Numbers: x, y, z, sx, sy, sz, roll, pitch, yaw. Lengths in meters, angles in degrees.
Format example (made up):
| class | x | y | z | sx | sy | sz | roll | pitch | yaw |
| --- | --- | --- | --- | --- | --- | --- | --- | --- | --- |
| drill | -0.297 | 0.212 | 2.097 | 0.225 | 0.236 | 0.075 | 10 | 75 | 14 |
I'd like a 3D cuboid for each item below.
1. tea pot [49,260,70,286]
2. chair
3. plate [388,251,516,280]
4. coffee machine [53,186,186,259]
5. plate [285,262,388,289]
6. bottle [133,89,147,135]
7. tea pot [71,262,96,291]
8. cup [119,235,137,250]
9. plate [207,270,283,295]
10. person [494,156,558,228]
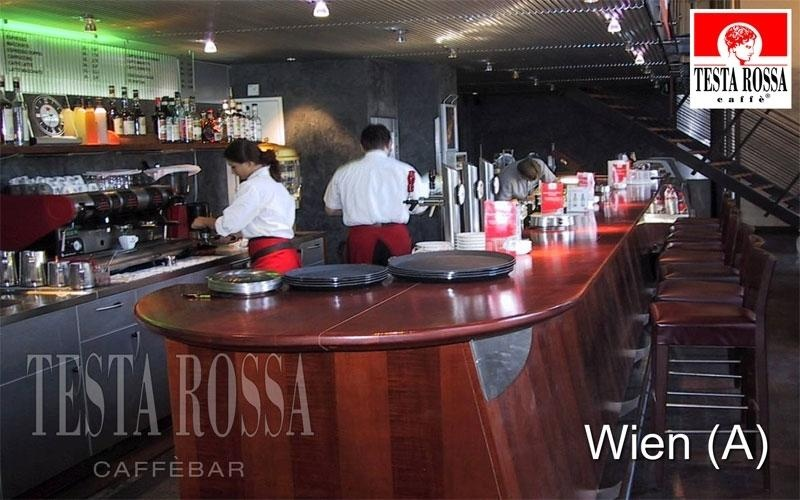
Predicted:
| class | x | y | z | sx | sy | sz | roll | pitch | yaw |
| --- | --- | --- | --- | --- | --- | --- | --- | --- | --- |
| tea pot | -2.428 | 0.175 | 4.049 | 0.151 | 0.157 | 0.170 | 3 | 6 | 7 |
| chair | 2.353 | 0.732 | 4.187 | 0.657 | 1.170 | 2.115 | 1 | 12 | 17 |
| plate | 0.298 | 0.085 | 3.019 | 0.602 | 0.099 | 0.543 | 5 | 10 | 35 |
| coffee machine | -2.291 | -0.259 | 4.517 | 0.521 | 0.449 | 0.965 | 2 | 6 | 20 |
| plate | -0.316 | 0.141 | 2.882 | 0.530 | 0.085 | 0.288 | -1 | 8 | 4 |
| bottle | -2.442 | -1.299 | 5.245 | 0.101 | 0.463 | 0.458 | -5 | 9 | -23 |
| tea pot | -2.252 | 0.188 | 3.951 | 0.190 | 0.186 | 0.167 | 0 | 5 | 3 |
| cup | -2.182 | -0.054 | 4.477 | 0.106 | 0.090 | 0.129 | -1 | -11 | 5 |
| plate | -0.787 | 0.171 | 2.859 | 0.367 | 0.081 | 0.260 | 2 | 9 | 21 |
| person | 1.425 | -0.802 | 6.289 | 0.574 | 0.524 | 1.290 | 1 | 8 | 13 |
